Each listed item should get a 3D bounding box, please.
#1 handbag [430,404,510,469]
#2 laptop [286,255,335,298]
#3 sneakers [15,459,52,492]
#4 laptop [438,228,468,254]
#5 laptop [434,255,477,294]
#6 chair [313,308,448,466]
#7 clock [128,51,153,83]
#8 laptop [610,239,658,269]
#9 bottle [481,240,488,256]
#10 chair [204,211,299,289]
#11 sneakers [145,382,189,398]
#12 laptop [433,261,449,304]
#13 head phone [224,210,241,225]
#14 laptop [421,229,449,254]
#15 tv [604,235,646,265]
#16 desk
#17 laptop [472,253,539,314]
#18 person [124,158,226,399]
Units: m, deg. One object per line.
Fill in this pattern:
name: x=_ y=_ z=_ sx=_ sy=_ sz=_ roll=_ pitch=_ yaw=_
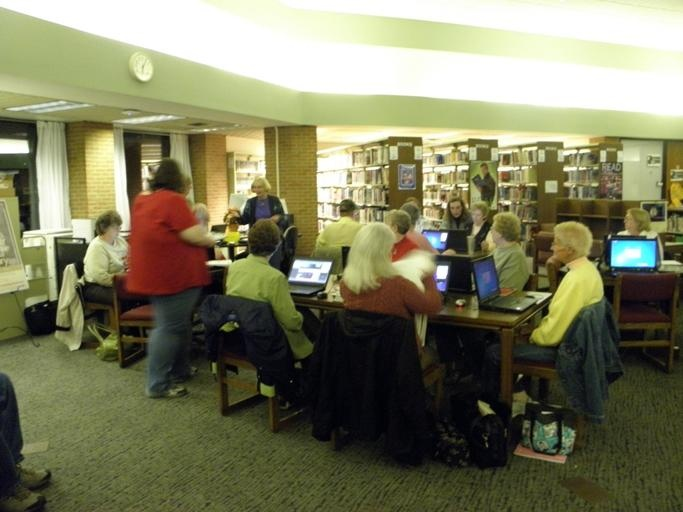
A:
handbag: x=0.999 y=1.409 z=4.550 sx=0.505 sy=0.504 sz=0.200 roll=2 pitch=6 yaw=1
laptop: x=-0.341 y=0.201 z=5.711 sx=0.404 sy=0.250 sz=0.355 roll=5 pitch=20 yaw=31
sneakers: x=-2.334 y=1.645 z=4.356 sx=0.356 sy=0.160 sz=0.131 roll=0 pitch=9 yaw=-7
laptop: x=1.495 y=-0.194 z=7.794 sx=0.373 sy=0.360 sz=0.293 roll=0 pitch=2 yaw=33
laptop: x=1.082 y=0.159 z=5.506 sx=0.417 sy=0.401 sz=0.350 roll=4 pitch=13 yaw=31
chair: x=0.259 y=1.014 z=4.418 sx=1.027 sy=0.987 sz=0.531 roll=6 pitch=20 yaw=19
clock: x=-2.735 y=-2.595 z=7.979 sx=0.105 sy=0.401 sz=0.404 roll=1 pitch=9 yaw=21
laptop: x=3.366 y=-0.034 z=6.719 sx=0.595 sy=0.420 sz=0.324 roll=0 pitch=-1 yaw=19
bottle: x=1.844 y=-0.104 z=7.462 sx=0.068 sy=0.155 sz=0.115 roll=-3 pitch=-4 yaw=15
chair: x=-1.072 y=-0.069 z=7.197 sx=0.947 sy=1.084 sz=1.084 roll=4 pitch=3 yaw=2
sneakers: x=-1.657 y=1.248 z=5.508 sx=0.338 sy=0.144 sz=0.144 roll=-8 pitch=11 yaw=-15
laptop: x=0.917 y=0.233 z=5.393 sx=0.234 sy=0.342 sz=0.080 roll=1 pitch=-16 yaw=31
head phone: x=-1.629 y=-0.597 z=8.622 sx=0.198 sy=0.110 sz=0.224 roll=-6 pitch=23 yaw=-23
laptop: x=1.256 y=-0.225 z=7.818 sx=0.403 sy=0.284 sz=0.311 roll=4 pitch=1 yaw=19
tv: x=3.255 y=-0.071 z=6.790 sx=0.286 sy=0.471 sz=0.256 roll=2 pitch=1 yaw=9
desk: x=0.561 y=0.829 z=4.779 sx=1.019 sy=1.350 sz=1.361 roll=5 pitch=11 yaw=29
laptop: x=1.434 y=0.298 z=5.097 sx=0.440 sy=0.410 sz=0.646 roll=-1 pitch=8 yaw=29
person: x=-1.586 y=0.221 z=5.435 sx=0.777 sy=2.219 sz=0.480 roll=-5 pitch=9 yaw=-14
